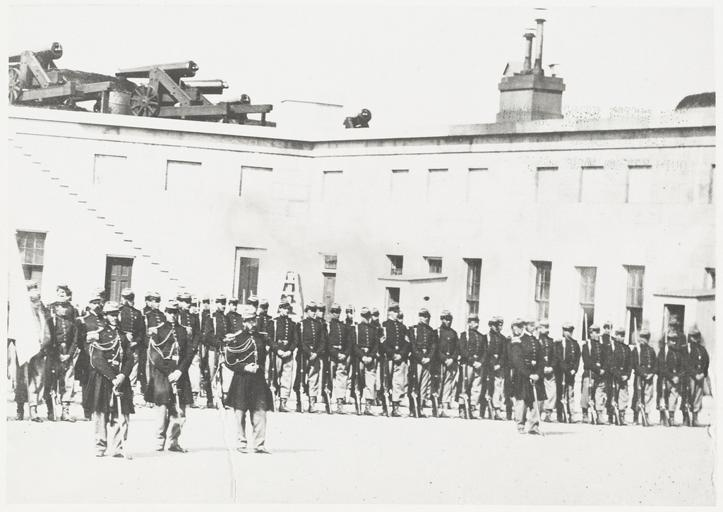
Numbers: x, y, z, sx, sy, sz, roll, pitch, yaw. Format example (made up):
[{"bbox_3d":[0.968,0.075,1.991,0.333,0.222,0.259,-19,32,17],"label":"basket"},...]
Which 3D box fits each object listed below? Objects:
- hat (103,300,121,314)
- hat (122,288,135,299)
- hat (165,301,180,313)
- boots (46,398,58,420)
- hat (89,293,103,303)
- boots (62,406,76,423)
[{"bbox_3d":[-4.846,1.007,27.604,0.329,0.245,0.235,-7,-5,31],"label":"hat"},{"bbox_3d":[-4.861,0.818,29.963,0.196,0.218,0.242,-4,22,-43],"label":"hat"},{"bbox_3d":[-3.624,0.996,27.509,0.218,0.148,0.217,-1,1,-16],"label":"hat"},{"bbox_3d":[-6.407,3.189,29.575,0.170,0.433,0.709,2,-8,-8],"label":"boots"},{"bbox_3d":[-5.308,0.852,28.604,0.234,0.232,0.362,3,-8,-11],"label":"hat"},{"bbox_3d":[-6.068,3.293,29.909,0.302,0.344,0.536,1,-8,2],"label":"boots"}]
